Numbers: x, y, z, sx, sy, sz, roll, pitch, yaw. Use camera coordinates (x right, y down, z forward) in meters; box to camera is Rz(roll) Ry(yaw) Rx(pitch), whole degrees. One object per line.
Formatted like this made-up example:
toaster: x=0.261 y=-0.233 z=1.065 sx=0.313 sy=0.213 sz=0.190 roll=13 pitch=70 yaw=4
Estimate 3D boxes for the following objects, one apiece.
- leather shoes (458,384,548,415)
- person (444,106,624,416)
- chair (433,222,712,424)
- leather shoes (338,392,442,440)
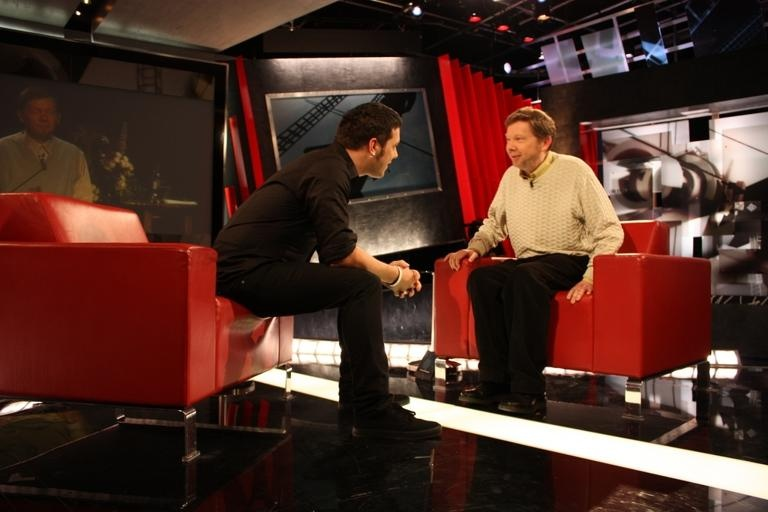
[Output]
leather shoes: x=0.656 y=0.795 z=3.323 sx=0.493 sy=0.114 sz=0.264 roll=3 pitch=8 yaw=16
person: x=0.952 y=-0.002 z=3.747 sx=1.076 sy=1.754 sz=1.013 roll=0 pitch=-4 yaw=-7
chair: x=1.239 y=0.299 z=3.986 sx=1.500 sy=1.002 sz=1.109 roll=0 pitch=-1 yaw=43
leather shoes: x=0.048 y=0.793 z=2.965 sx=0.552 sy=0.219 sz=0.178 roll=0 pitch=-4 yaw=-3
